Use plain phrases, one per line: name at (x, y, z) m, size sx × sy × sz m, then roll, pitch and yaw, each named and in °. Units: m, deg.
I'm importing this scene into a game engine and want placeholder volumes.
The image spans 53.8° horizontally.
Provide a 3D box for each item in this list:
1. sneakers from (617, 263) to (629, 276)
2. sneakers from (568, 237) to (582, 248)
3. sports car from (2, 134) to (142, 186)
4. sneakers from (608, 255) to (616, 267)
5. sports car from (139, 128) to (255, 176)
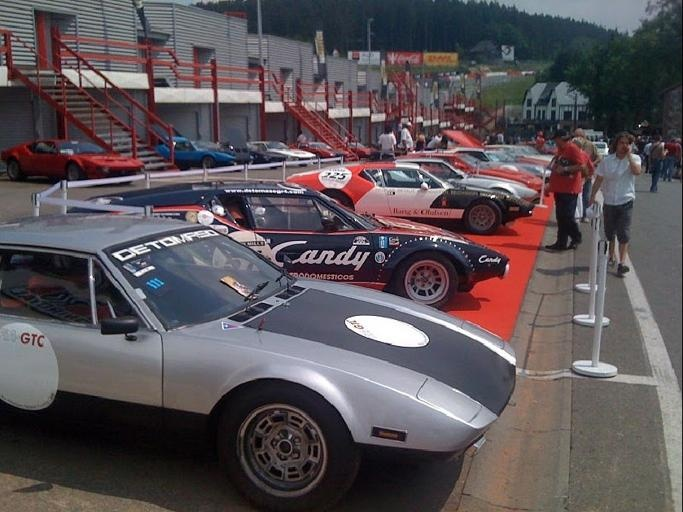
sneakers at (3.999, 0.210, 9.568) m, size 0.094 × 0.115 × 0.262 m, roll -3°, pitch -1°, yaw 11°
sneakers at (4.029, -0.218, 11.608) m, size 0.058 × 0.089 × 0.247 m, roll -31°, pitch -15°, yaw -14°
sports car at (-7.895, -2.727, 19.394) m, size 2.933 × 0.905 × 1.924 m, roll 4°, pitch 12°, yaw 17°
sneakers at (4.001, 0.070, 9.952) m, size 0.106 × 0.188 × 0.055 m, roll 2°, pitch 27°, yaw 11°
sports car at (-5.542, -4.171, 27.225) m, size 3.130 × 0.984 × 1.996 m, roll 1°, pitch 17°, yaw 3°
